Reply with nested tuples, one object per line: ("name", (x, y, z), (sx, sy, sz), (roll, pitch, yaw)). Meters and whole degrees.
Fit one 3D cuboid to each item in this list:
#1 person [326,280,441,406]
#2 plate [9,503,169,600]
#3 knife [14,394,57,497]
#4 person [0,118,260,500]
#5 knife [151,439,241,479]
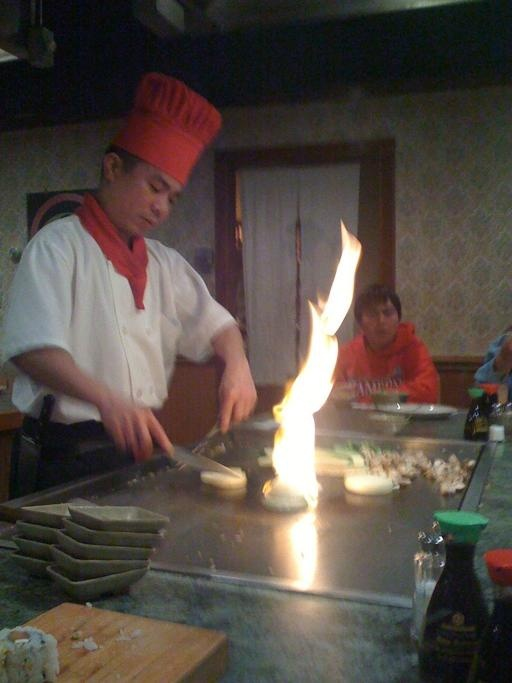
("person", (0.699, 0.013, 3.313), (0.429, 0.652, 0.688), (5, 0, -33))
("plate", (-0.237, 0.257, 0.862), (0.132, 0.088, 0.173), (5, -4, -32))
("knife", (-0.606, 0.288, 1.677), (0.072, 0.273, 0.189), (5, 1, -36))
("person", (-0.313, -0.163, 1.799), (0.506, 0.961, 0.832), (6, 0, 26))
("knife", (-0.155, 0.314, 1.611), (0.211, 0.040, 0.010), (27, 31, 16))
